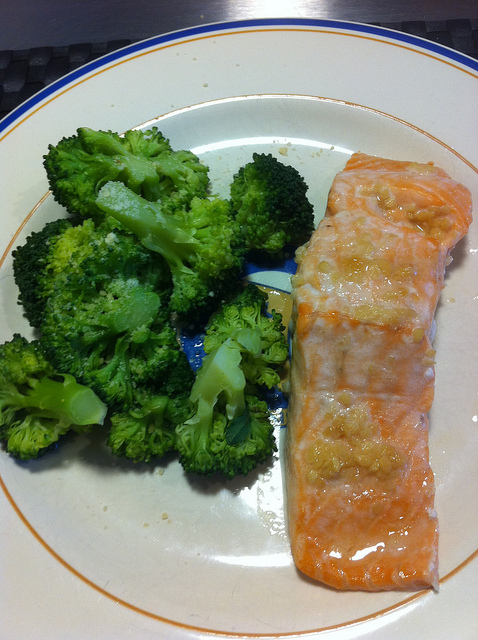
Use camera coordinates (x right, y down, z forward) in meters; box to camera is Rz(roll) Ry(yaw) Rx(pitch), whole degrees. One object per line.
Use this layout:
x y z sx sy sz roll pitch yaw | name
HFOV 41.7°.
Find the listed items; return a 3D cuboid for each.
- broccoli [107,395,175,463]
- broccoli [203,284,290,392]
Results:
-0.399 0.462 2.609 0.278 0.118 0.288 29 65 1 | broccoli
0.044 0.073 2.687 0.373 0.181 0.393 -2 61 -7 | broccoli
